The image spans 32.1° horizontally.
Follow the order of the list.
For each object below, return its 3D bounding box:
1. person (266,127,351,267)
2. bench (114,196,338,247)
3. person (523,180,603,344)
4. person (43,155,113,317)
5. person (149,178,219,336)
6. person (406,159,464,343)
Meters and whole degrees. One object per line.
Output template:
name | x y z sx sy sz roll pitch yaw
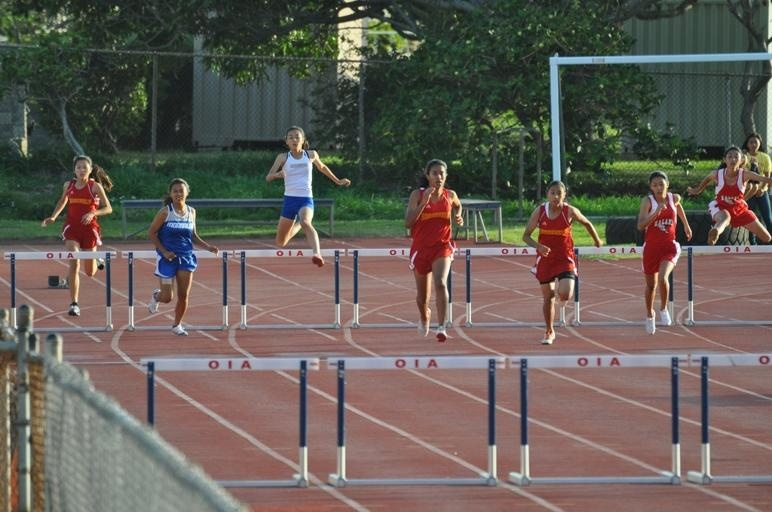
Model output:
person | -1.428 -1.064 22.071 1.014 2.553 1.326 0 1 26
bench | -3.463 -0.801 29.643 4.706 0.962 0.855 -1 -10 -5
person | 2.517 0.115 19.931 0.614 2.453 0.908 5 9 37
person | -4.984 -0.535 21.746 1.082 2.934 1.094 -1 -3 -6
person | -3.114 -0.082 20.445 0.917 2.582 1.062 0 -2 1
person | 0.637 -0.083 19.910 0.909 2.466 1.066 0 1 -22
